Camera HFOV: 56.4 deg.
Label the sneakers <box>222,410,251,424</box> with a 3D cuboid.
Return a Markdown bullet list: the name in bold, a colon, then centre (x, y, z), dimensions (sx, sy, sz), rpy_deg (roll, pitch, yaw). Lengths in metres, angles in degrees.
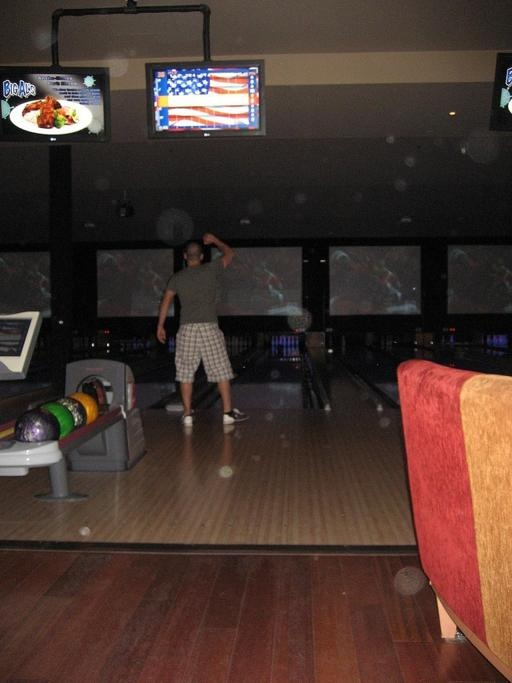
- **sneakers**: centre (-0.142, 0.520, 3.351), dimensions (0.206, 0.100, 0.077), rpy_deg (-3, 2, -24)

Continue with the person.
- **person**: centre (-0.381, -0.140, 3.439), dimensions (0.597, 1.443, 1.129), rpy_deg (-1, 1, -9)
